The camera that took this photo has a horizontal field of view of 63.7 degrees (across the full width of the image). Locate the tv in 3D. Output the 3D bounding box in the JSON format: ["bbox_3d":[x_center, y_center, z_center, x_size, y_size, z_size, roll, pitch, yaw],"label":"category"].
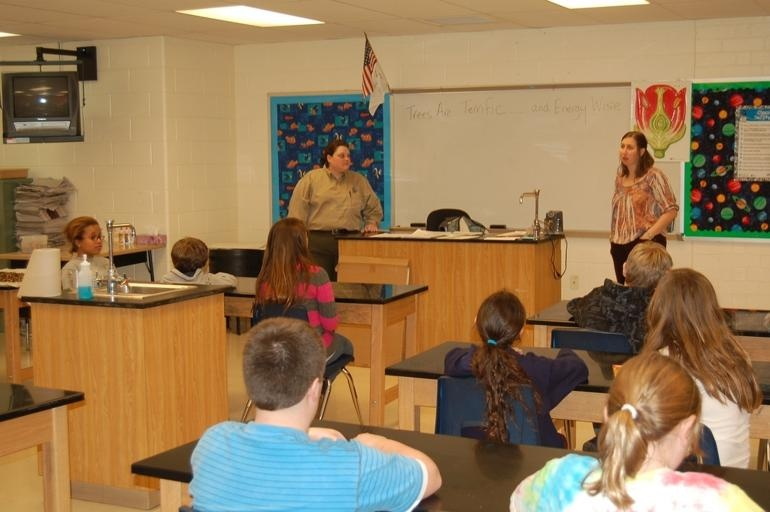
[{"bbox_3d":[-3.664,-1.623,6.558,0.685,0.623,0.391,-1,2,-12],"label":"tv"}]

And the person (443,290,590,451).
[{"bbox_3d":[0.552,0.587,2.680,0.606,0.809,0.651,1,15,10],"label":"person"}]

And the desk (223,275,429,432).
[{"bbox_3d":[-0.350,0.449,4.756,1.618,1.197,1.037,3,7,26],"label":"desk"}]

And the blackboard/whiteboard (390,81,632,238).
[{"bbox_3d":[1.472,-1.087,6.757,1.909,1.092,0.043,2,7,19],"label":"blackboard/whiteboard"}]

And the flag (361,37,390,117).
[{"bbox_3d":[-0.108,-2.080,6.883,0.286,0.913,0.801,0,5,0],"label":"flag"}]

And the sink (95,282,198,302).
[{"bbox_3d":[-1.375,0.206,3.578,0.254,0.101,0.212,3,6,25],"label":"sink"}]

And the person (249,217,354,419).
[{"bbox_3d":[-0.524,0.462,4.096,0.628,1.374,0.759,7,9,27],"label":"person"}]
